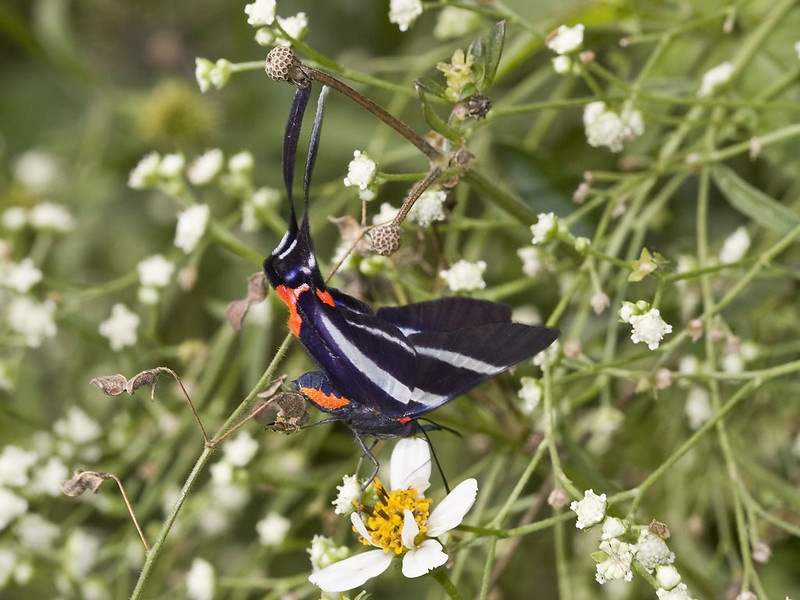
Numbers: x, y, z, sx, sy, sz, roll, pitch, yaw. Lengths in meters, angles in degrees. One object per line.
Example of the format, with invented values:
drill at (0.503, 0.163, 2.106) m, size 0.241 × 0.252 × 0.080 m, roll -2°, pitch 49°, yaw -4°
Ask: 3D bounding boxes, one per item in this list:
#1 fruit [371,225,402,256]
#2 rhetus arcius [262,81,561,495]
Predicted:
fruit at (-0.019, -0.087, 1.288) m, size 0.037 × 0.016 × 0.047 m, roll -2°, pitch 91°, yaw 7°
rhetus arcius at (-0.004, 0.019, 1.336) m, size 0.348 × 0.487 × 0.507 m, roll 7°, pitch 101°, yaw -6°
